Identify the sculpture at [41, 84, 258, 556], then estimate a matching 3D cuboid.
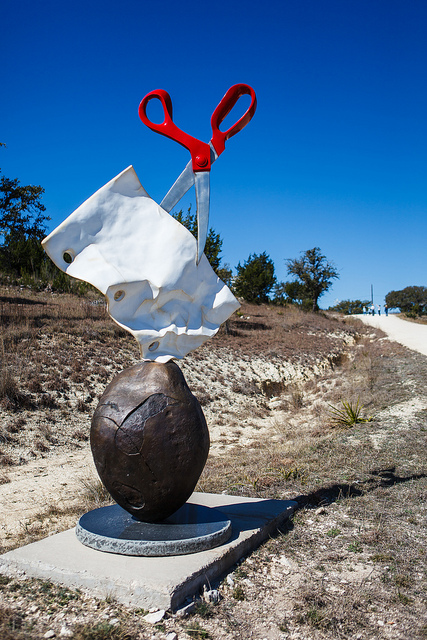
[{"bbox_3d":[-0.594,-0.103,5.517,1.822,4.705,1.316,2,6,-18],"label":"sculpture"}]
